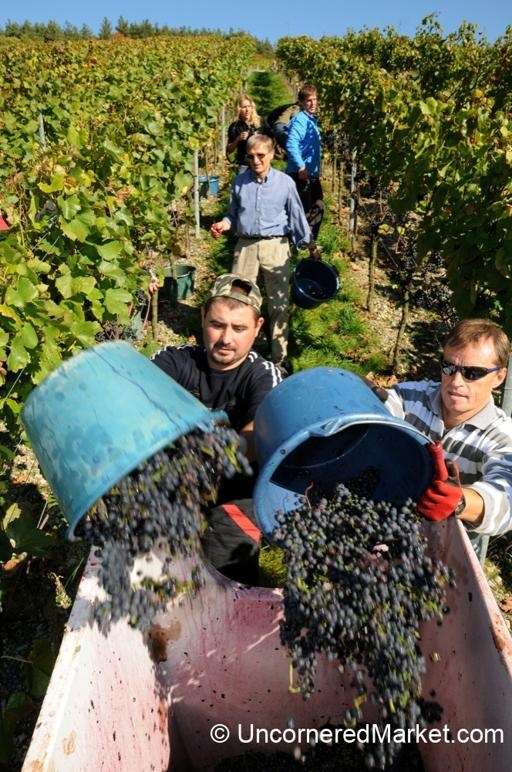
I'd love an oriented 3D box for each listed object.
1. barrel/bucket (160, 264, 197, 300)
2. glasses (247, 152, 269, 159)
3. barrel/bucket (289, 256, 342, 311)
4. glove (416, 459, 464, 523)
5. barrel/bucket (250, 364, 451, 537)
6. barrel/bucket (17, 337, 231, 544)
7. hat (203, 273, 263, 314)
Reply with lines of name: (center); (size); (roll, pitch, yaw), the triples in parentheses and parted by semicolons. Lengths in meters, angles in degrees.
barrel/bucket: (-0.959, -1.334, 6.760); (0.467, 0.345, 0.451); (-2, 40, 2)
glasses: (0.016, -1.891, 4.466); (0.168, 0.070, 0.136); (6, 28, 6)
barrel/bucket: (0.627, -1.110, 5.936); (0.585, 0.584, 0.413); (-7, -10, -6)
glove: (0.577, 0.303, 1.659); (0.097, 0.185, 0.137); (31, -19, -27)
barrel/bucket: (0.253, 0.193, 1.727); (0.561, 0.579, 0.399); (-9, 29, -11)
barrel/bucket: (-0.337, 0.113, 1.499); (0.486, 0.405, 0.406); (-17, 34, -33)
hat: (-0.095, -0.422, 2.498); (0.232, 0.156, 0.350); (5, 28, 3)
